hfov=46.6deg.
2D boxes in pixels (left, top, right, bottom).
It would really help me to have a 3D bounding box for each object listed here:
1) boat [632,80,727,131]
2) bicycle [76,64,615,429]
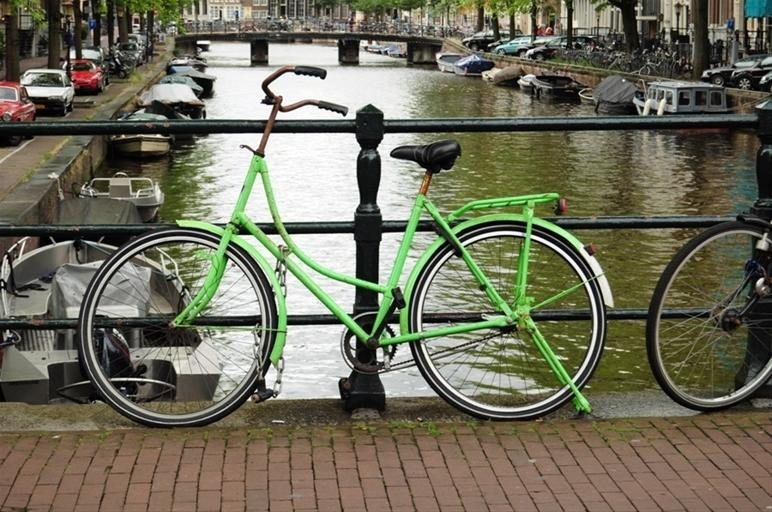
[{"bbox_3d":[12.464,-6.456,36.880,2.759,1.113,3.915,8,12,-5],"label":"boat"},{"bbox_3d":[-0.206,0.150,4.822,2.913,1.273,0.945,-1,-8,1],"label":"bicycle"}]
